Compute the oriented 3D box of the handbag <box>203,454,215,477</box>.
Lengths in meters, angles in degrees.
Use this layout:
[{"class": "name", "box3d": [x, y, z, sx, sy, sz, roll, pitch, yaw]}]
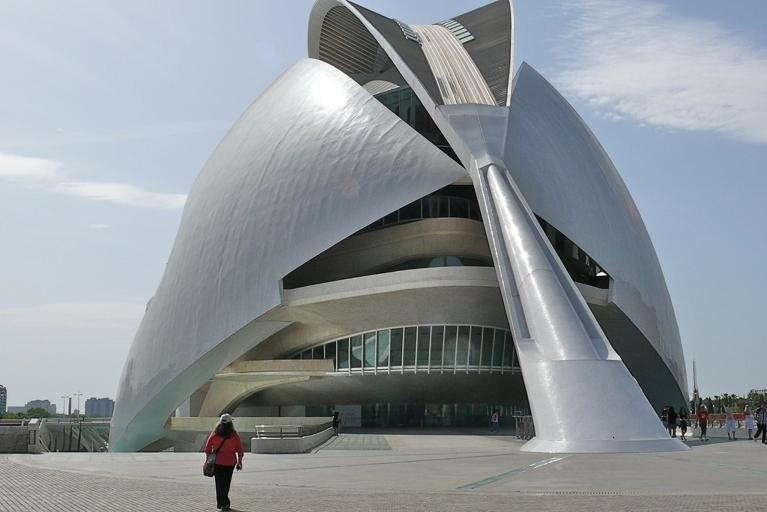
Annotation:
[{"class": "handbag", "box3d": [-2.887, 3.452, 10.068, 0.174, 0.341, 0.382, 5, -22, -18]}]
